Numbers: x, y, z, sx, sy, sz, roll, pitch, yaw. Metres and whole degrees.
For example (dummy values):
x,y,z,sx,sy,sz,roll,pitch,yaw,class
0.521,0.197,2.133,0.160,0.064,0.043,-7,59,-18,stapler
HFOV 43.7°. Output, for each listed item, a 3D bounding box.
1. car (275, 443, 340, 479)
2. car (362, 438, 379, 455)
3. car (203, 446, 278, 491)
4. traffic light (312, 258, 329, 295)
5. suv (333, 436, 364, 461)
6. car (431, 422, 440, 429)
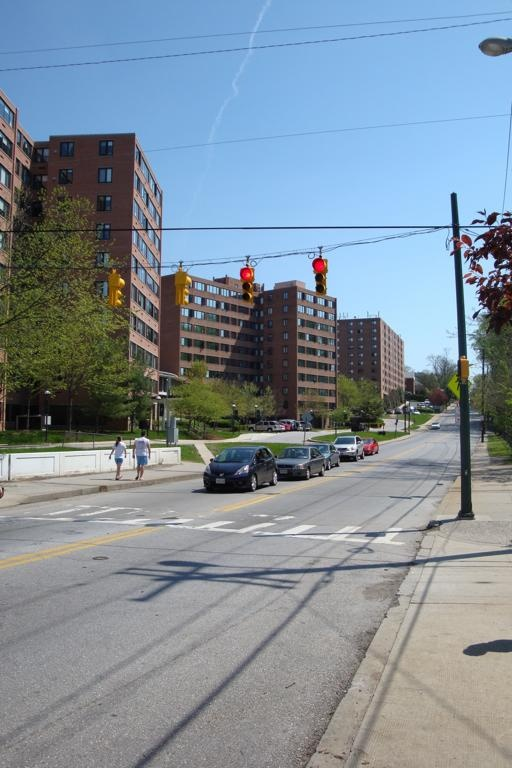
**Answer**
x,y,z,sx,sy,sz,roll,pitch,yaw,class
1.891,3.071,25.512,1.175,0.905,3.181,-4,-8,19,car
8.794,4.866,49.741,0.914,0.751,2.161,-4,-8,19,car
-0.455,2.615,19.957,1.215,0.899,2.106,-5,-9,19,car
1.666,-2.893,16.802,0.290,0.935,0.905,-1,-4,10,traffic light
5.838,4.010,40.372,1.130,1.012,2.597,-3,-9,14,suv
30.658,7.058,109.957,1.270,1.082,3.104,-4,-8,15,car
